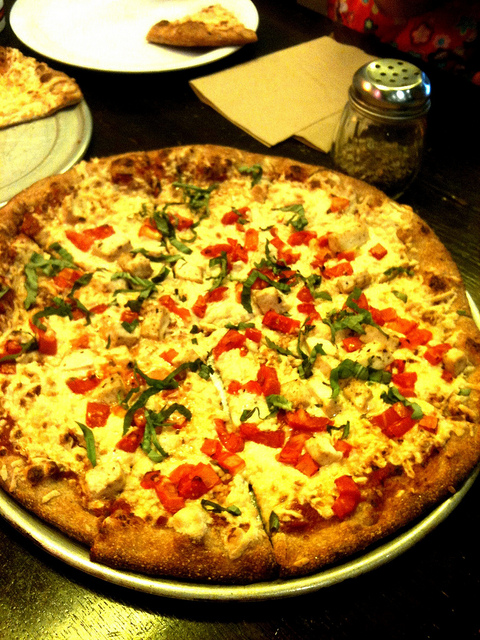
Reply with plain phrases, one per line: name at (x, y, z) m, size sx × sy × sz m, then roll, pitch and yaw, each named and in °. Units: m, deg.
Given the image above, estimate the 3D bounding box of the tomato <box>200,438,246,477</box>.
tomato at (-0.040, 0.317, 1.359) m, size 0.107 × 0.025 × 0.059 m, roll 33°, pitch 50°, yaw 27°

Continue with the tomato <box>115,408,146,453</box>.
tomato at (-0.251, 0.255, 1.393) m, size 0.065 × 0.027 × 0.114 m, roll -10°, pitch 47°, yaw 2°

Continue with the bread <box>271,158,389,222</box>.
bread at (0.317, -0.449, 1.951) m, size 0.208 × 0.067 × 0.329 m, roll -28°, pitch 49°, yaw -28°

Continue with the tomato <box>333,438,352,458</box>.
tomato at (0.243, 0.303, 1.374) m, size 0.043 × 0.017 × 0.036 m, roll 23°, pitch 51°, yaw 15°

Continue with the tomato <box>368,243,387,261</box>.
tomato at (0.424, -0.212, 1.779) m, size 0.043 × 0.020 × 0.043 m, roll -45°, pitch 82°, yaw 3°

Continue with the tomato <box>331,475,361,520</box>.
tomato at (0.238, 0.399, 1.307) m, size 0.083 × 0.023 × 0.073 m, roll 15°, pitch 91°, yaw -15°

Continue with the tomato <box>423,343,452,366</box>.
tomato at (0.517, 0.086, 1.544) m, size 0.094 × 0.023 × 0.049 m, roll -25°, pitch 56°, yaw -37°

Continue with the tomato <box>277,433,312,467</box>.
tomato at (0.131, 0.304, 1.378) m, size 0.050 × 0.022 × 0.084 m, roll 7°, pitch 49°, yaw 48°

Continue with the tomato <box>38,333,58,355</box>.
tomato at (-0.504, 0.060, 1.523) m, size 0.053 × 0.046 × 0.050 m, roll 1°, pitch 16°, yaw -12°

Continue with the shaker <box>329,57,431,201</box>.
shaker at (0.522, -0.655, 1.992) m, size 0.307 × 0.483 × 0.349 m, roll -22°, pitch 37°, yaw -33°

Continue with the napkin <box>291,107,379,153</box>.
napkin at (0.333, -0.671, 2.315) m, size 0.249 × 0.045 × 0.253 m, roll 2°, pitch 29°, yaw -40°

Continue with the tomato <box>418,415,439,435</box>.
tomato at (0.459, 0.251, 1.404) m, size 0.049 × 0.025 × 0.032 m, roll 20°, pitch 51°, yaw 13°

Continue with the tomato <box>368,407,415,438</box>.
tomato at (0.369, 0.241, 1.403) m, size 0.070 × 0.051 × 0.076 m, roll -31°, pitch 58°, yaw -27°

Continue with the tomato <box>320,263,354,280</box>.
tomato at (0.292, -0.144, 1.744) m, size 0.082 × 0.021 × 0.038 m, roll -24°, pitch 38°, yaw 11°

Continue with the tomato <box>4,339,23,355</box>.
tomato at (-0.579, 0.066, 1.473) m, size 0.041 × 0.016 × 0.041 m, roll -9°, pitch 50°, yaw -12°

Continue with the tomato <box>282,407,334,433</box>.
tomato at (0.161, 0.246, 1.421) m, size 0.129 × 0.034 × 0.053 m, roll 19°, pitch 50°, yaw 13°

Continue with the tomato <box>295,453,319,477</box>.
tomato at (0.154, 0.335, 1.344) m, size 0.042 × 0.025 × 0.050 m, roll -34°, pitch 59°, yaw -28°

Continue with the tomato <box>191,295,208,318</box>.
tomato at (-0.119, -0.040, 1.695) m, size 0.040 × 0.014 × 0.057 m, roll -4°, pitch 57°, yaw -6°

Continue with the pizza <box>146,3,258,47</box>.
pizza at (-0.176, -1.405, 2.761) m, size 0.625 × 0.193 × 0.541 m, roll 1°, pitch 31°, yaw 3°

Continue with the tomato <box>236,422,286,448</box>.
tomato at (0.048, 0.270, 1.375) m, size 0.103 × 0.025 × 0.048 m, roll 18°, pitch 78°, yaw 9°

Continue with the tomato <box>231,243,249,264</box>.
tomato at (0.001, -0.207, 1.801) m, size 0.057 × 0.015 × 0.053 m, roll -17°, pitch 55°, yaw -14°

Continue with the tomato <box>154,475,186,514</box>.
tomato at (-0.158, 0.386, 1.285) m, size 0.047 × 0.025 × 0.085 m, roll -19°, pitch 57°, yaw -35°

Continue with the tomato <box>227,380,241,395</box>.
tomato at (-0.016, 0.176, 1.514) m, size 0.032 × 0.017 × 0.040 m, roll 4°, pitch 48°, yaw 0°

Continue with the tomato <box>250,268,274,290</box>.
tomato at (0.066, -0.118, 1.731) m, size 0.070 × 0.021 × 0.067 m, roll 27°, pitch 73°, yaw 31°

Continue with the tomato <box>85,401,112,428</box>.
tomato at (-0.346, 0.229, 1.407) m, size 0.057 × 0.022 × 0.060 m, roll -2°, pitch 48°, yaw -6°
